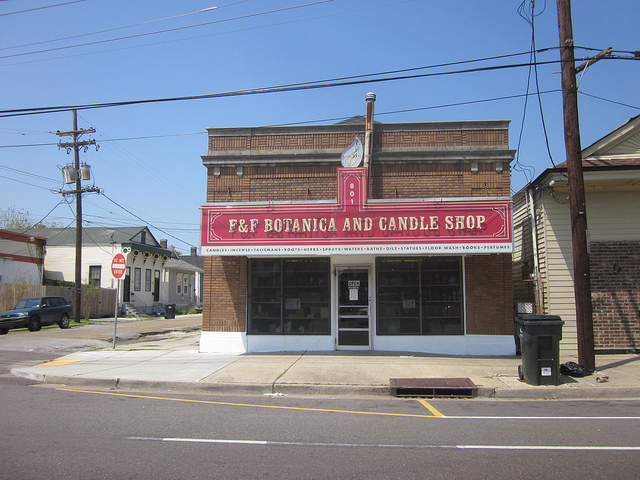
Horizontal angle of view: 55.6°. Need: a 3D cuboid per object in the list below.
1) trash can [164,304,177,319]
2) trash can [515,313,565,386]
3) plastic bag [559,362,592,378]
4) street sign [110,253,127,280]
[{"bbox_3d":[-10.346,4.828,40.930,0.871,1.157,0.811,0,-10,-7],"label":"trash can"},{"bbox_3d":[5.410,2.714,15.292,1.095,1.630,1.127,0,-5,4],"label":"trash can"},{"bbox_3d":[6.451,3.295,15.527,0.389,0.191,0.534,1,-2,1],"label":"plastic bag"},{"bbox_3d":[-6.962,0.924,20.979,0.452,0.908,1.308,-1,2,-19],"label":"street sign"}]
